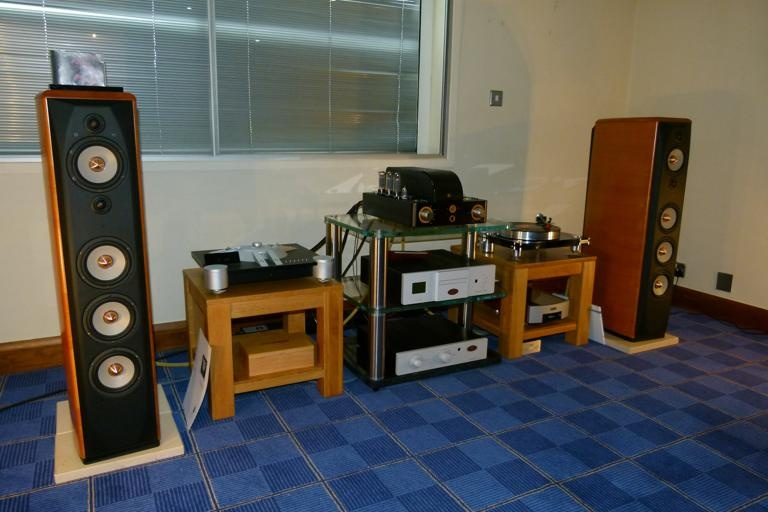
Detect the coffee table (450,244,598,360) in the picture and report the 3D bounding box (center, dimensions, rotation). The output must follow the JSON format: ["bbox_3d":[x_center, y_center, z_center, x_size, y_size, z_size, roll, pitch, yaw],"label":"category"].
[{"bbox_3d":[0.905,0.213,3.680,0.724,0.608,0.733,-5,11,-25],"label":"coffee table"}]

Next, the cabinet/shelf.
[{"bbox_3d":[0.160,0.257,3.363,1.067,0.883,0.806,-2,9,-30],"label":"cabinet/shelf"}]

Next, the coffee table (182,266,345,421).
[{"bbox_3d":[-0.707,0.361,3.078,0.789,0.643,0.797,-6,15,-27],"label":"coffee table"}]
